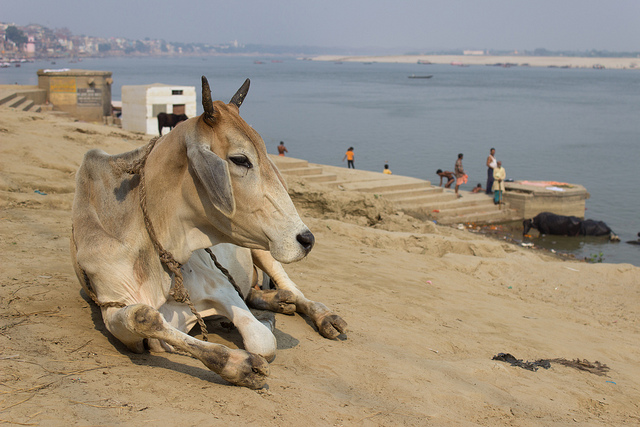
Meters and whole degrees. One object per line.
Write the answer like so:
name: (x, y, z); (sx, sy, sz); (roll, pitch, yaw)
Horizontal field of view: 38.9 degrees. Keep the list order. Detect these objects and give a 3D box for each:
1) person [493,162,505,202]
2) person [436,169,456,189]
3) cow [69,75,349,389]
person: (6.066, -1.027, 31.004); (0.403, 1.319, 0.986); (4, 12, 10)
person: (4.525, -1.393, 32.628); (0.852, 0.818, 0.497); (-5, 55, 5)
cow: (-1.908, 0.208, 13.423); (3.359, 4.482, 1.929); (-1, 12, -11)
